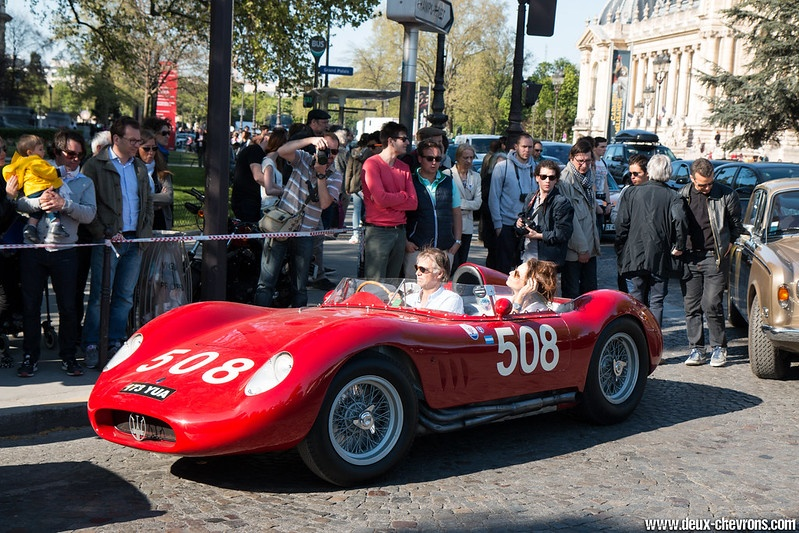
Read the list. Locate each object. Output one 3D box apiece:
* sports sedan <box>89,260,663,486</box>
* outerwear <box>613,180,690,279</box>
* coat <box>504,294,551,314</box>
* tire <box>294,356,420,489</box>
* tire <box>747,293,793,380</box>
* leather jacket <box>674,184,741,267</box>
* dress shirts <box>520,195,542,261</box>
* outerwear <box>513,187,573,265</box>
[{"bbox_3d":[0.009,0.756,7.000,5.500,1.592,1.973,-4,13,-29],"label":"sports sedan"},{"bbox_3d":[3.325,-0.547,9.752,0.851,1.310,0.448,7,24,25],"label":"outerwear"},{"bbox_3d":[1.272,0.394,7.173,0.256,0.123,0.198,-1,4,-17],"label":"coat"},{"bbox_3d":[-0.366,1.237,5.844,0.876,0.961,0.290,7,1,-35],"label":"tire"},{"bbox_3d":[4.514,0.917,8.995,0.489,0.985,0.496,7,12,27],"label":"tire"},{"bbox_3d":[4.010,-0.518,9.679,0.985,1.290,0.678,0,1,43],"label":"leather jacket"},{"bbox_3d":[1.742,-0.507,9.804,0.294,0.785,0.748,1,6,-5],"label":"dress shirts"},{"bbox_3d":[1.905,-0.508,9.791,0.794,1.069,0.611,16,21,38],"label":"outerwear"}]
